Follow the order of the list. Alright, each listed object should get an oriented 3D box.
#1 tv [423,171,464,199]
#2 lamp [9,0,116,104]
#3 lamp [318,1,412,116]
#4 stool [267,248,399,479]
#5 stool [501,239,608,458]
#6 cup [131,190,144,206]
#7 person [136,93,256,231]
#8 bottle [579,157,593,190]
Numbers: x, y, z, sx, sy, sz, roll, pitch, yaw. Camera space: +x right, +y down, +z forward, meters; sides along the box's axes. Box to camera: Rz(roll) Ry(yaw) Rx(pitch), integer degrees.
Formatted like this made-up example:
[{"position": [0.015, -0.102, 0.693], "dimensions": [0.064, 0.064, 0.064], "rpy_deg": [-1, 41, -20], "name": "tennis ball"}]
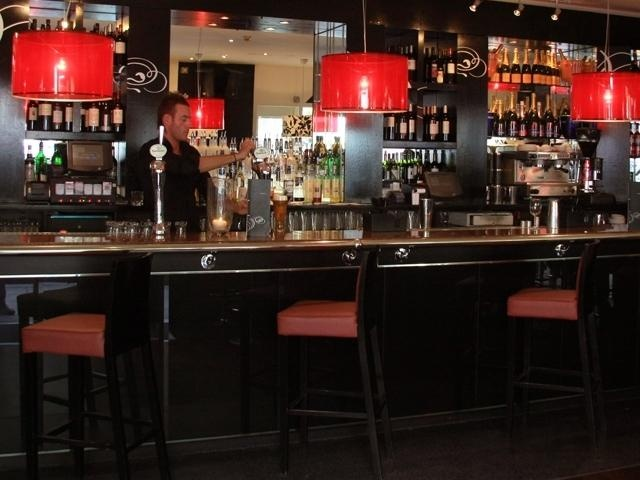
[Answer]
[{"position": [1.293, -0.570, 6.295], "dimensions": [0.332, 0.338, 0.088], "rpy_deg": [-1, -23, -25], "name": "tv"}, {"position": [-1.556, -1.129, 3.675], "dimensions": [0.521, 0.566, 0.515], "rpy_deg": [1, 4, -10], "name": "lamp"}, {"position": [0.266, -1.165, 4.151], "dimensions": [0.483, 0.862, 0.491], "rpy_deg": [0, 0, -7], "name": "lamp"}, {"position": [0.085, 0.677, 3.521], "dimensions": [0.682, 1.354, 0.678], "rpy_deg": [1, 11, 0], "name": "stool"}, {"position": [1.608, 0.613, 4.045], "dimensions": [0.646, 1.326, 0.801], "rpy_deg": [7, 12, 25], "name": "stool"}, {"position": [-1.503, -0.341, 4.998], "dimensions": [0.130, 0.140, 0.122], "rpy_deg": [2, 1, 0], "name": "cup"}, {"position": [-1.028, -0.604, 4.797], "dimensions": [0.766, 1.097, 1.140], "rpy_deg": [-3, 12, -20], "name": "person"}, {"position": [3.018, -0.736, 6.827], "dimensions": [0.171, 0.393, 0.190], "rpy_deg": [3, 11, 7], "name": "bottle"}]
